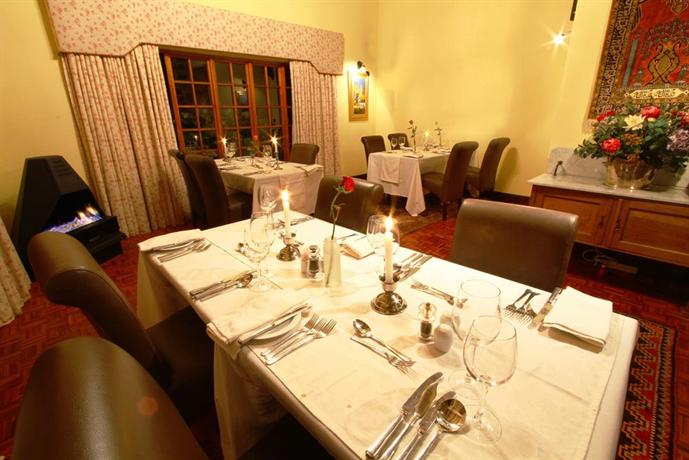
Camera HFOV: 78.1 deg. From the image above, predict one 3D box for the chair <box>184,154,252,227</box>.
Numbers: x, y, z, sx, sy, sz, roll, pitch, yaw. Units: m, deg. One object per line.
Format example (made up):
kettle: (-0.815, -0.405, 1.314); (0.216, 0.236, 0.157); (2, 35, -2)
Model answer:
chair: (-1.309, -0.444, 4.497); (0.458, 0.787, 0.518); (19, 29, 37)

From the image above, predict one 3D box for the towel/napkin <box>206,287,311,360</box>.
towel/napkin: (-0.474, 0.465, 2.313); (0.405, 0.102, 0.330); (-29, 44, -33)

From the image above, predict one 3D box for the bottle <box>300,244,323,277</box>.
bottle: (-0.187, 0.178, 2.652); (0.113, 0.202, 0.194); (10, 26, 16)

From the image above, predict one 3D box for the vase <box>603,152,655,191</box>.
vase: (2.570, -0.530, 3.819); (0.337, 0.216, 0.307); (-14, 27, -22)

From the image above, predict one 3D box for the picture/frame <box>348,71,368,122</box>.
picture/frame: (0.226, -2.356, 7.376); (0.063, 0.959, 0.656); (20, 28, 40)

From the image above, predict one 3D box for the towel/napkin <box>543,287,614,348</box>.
towel/napkin: (1.266, 0.471, 2.307); (0.298, 0.176, 0.299); (14, 26, 29)

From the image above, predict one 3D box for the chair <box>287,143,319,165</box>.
chair: (-0.514, -1.004, 5.597); (0.258, 0.264, 0.596); (-9, 25, -21)

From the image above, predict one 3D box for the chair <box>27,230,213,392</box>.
chair: (-1.328, 0.508, 2.541); (0.695, 0.977, 0.538); (-28, 42, -33)

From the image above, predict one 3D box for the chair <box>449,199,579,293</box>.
chair: (1.137, 0.037, 2.984); (0.601, 0.869, 0.684); (23, 25, 32)

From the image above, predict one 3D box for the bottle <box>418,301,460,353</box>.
bottle: (0.480, 0.483, 2.298); (0.256, 0.271, 0.164); (16, 28, 40)

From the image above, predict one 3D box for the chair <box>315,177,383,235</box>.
chair: (0.032, -0.169, 3.161); (0.272, 0.408, 0.254); (28, 28, 23)

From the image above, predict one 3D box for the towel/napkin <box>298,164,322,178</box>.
towel/napkin: (-0.378, -0.700, 4.930); (0.178, 0.058, 0.178); (-12, 22, -34)

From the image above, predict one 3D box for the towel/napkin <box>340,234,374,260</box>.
towel/napkin: (0.088, 0.115, 2.822); (0.153, 0.041, 0.152); (-22, 39, -37)
